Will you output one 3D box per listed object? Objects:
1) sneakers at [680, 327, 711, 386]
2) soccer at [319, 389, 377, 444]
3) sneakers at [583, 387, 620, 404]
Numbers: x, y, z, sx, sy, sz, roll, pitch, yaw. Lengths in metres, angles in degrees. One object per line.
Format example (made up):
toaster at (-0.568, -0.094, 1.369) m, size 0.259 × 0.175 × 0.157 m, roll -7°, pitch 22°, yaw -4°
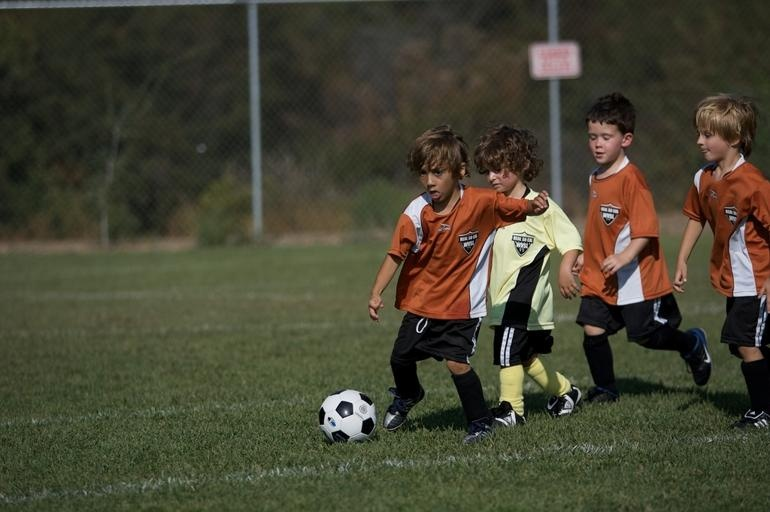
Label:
sneakers at (2.985, 0.988, 10.759) m, size 0.272 × 0.668 × 0.205 m, roll -11°, pitch 3°, yaw -43°
soccer at (-0.318, 1.492, 10.293) m, size 0.489 × 0.548 × 0.524 m, roll 7°, pitch 8°, yaw -2°
sneakers at (2.076, 1.319, 10.686) m, size 0.324 × 0.152 × 0.137 m, roll 3°, pitch 1°, yaw 0°
